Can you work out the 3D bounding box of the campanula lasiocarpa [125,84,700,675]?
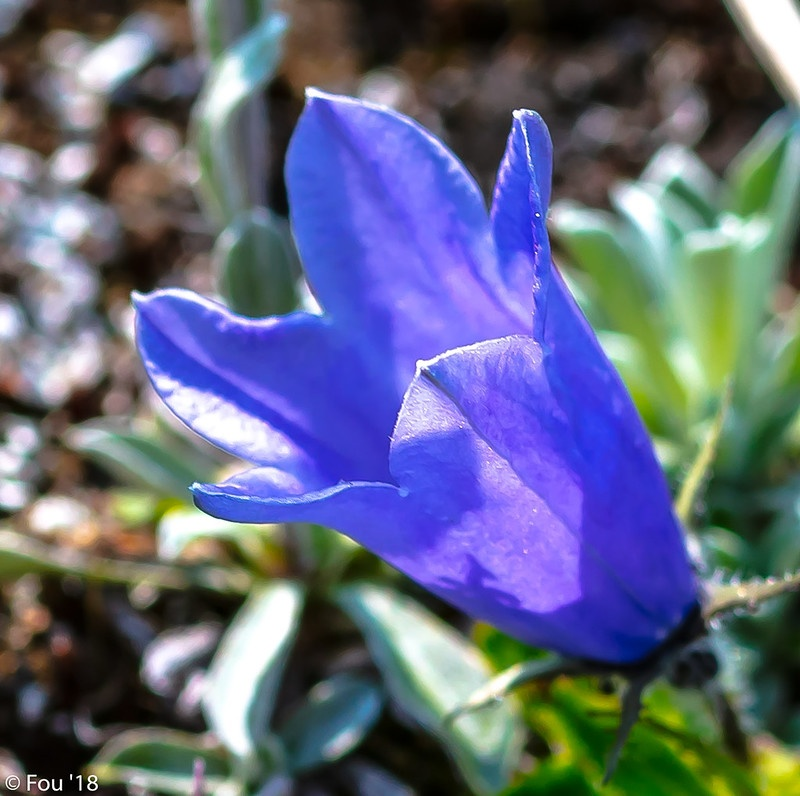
[{"bbox_3d":[0.022,-0.010,0.711,0.317,0.264,0.237,7,62,16],"label":"campanula lasiocarpa"}]
